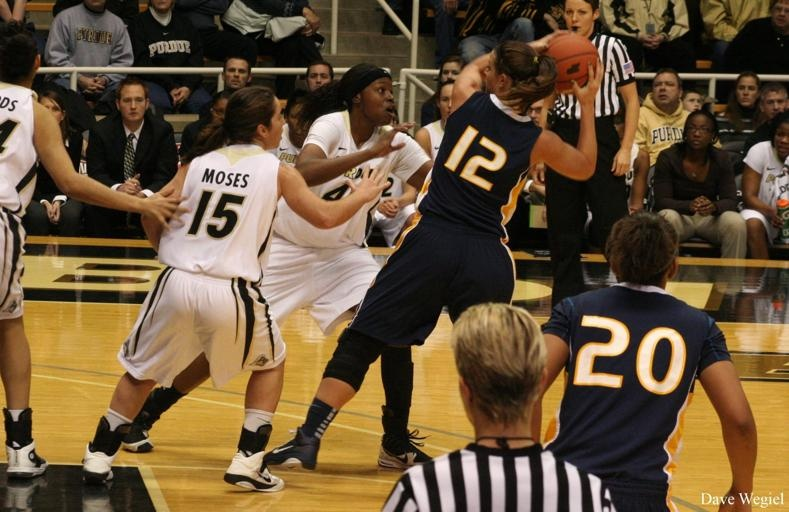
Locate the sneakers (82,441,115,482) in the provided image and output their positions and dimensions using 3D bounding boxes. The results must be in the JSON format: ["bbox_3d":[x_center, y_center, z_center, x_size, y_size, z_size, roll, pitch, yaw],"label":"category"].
[{"bbox_3d":[-1.392,0.986,4.004,0.096,0.108,0.246,2,2,-6],"label":"sneakers"}]

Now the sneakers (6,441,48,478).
[{"bbox_3d":[-1.747,0.975,4.076,0.097,0.162,0.257,0,0,15],"label":"sneakers"}]

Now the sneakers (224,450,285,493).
[{"bbox_3d":[-0.656,1.030,4.072,0.348,0.211,0.131,9,0,-29],"label":"sneakers"}]

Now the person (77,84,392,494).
[{"bbox_3d":[-0.802,0.147,4.012,1.132,1.836,0.360,5,0,-17],"label":"person"}]
